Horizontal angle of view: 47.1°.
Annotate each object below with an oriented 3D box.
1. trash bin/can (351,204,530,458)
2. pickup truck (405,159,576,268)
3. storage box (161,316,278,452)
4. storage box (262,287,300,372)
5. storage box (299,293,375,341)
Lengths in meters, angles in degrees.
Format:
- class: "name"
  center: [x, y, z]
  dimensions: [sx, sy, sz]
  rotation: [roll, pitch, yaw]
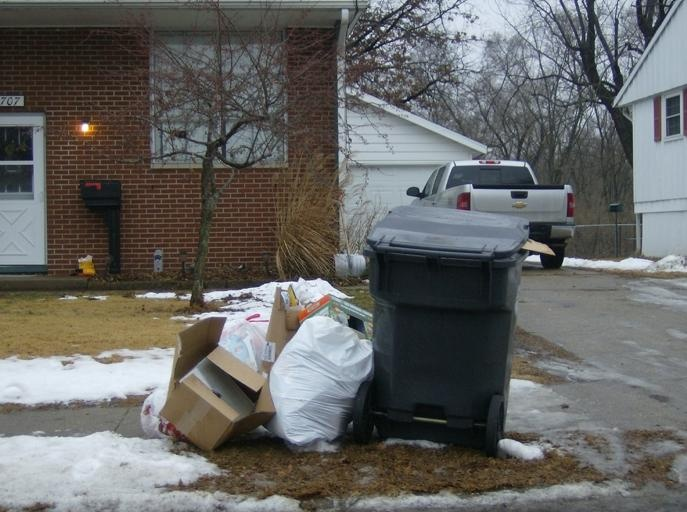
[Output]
- class: "trash bin/can"
  center: [0.808, 0.454, 6.652]
  dimensions: [1.497, 2.323, 1.604]
  rotation: [3, 8, 18]
- class: "pickup truck"
  center: [2.573, -0.744, 13.887]
  dimensions: [1.611, 1.274, 2.882]
  rotation: [0, 4, -7]
- class: "storage box"
  center: [-1.062, 0.969, 6.400]
  dimensions: [0.552, 0.912, 0.787]
  rotation: [12, -40, -7]
- class: "storage box"
  center: [-0.528, 0.630, 6.611]
  dimensions: [0.197, 0.612, 0.387]
  rotation: [27, -21, -35]
- class: "storage box"
  center: [-0.005, 0.480, 6.740]
  dimensions: [0.498, 0.172, 0.367]
  rotation: [23, -41, -25]
